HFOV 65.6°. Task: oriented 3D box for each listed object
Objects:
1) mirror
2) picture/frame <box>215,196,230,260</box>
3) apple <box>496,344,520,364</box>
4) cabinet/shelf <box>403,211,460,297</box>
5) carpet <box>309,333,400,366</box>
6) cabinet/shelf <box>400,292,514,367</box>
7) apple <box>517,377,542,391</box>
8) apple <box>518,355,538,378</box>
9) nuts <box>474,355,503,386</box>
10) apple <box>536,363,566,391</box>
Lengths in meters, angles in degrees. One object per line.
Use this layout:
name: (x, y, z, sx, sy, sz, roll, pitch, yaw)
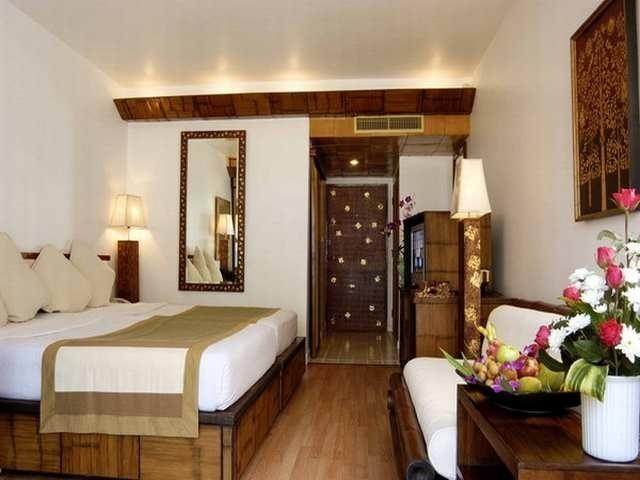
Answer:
mirror: (-1.234, -0.303, 5.628, 0.800, 1.902, 0.038, -1, 12, -23)
picture/frame: (-1.087, -0.008, 5.661, 0.195, 0.708, 0.205, -1, -2, -17)
apple: (0.871, 0.530, 2.315, 0.075, 0.085, 0.079, -15, 18, -28)
cabinet/shelf: (1.055, 0.183, 5.191, 0.265, 0.849, 0.816, -8, -2, -33)
carpet: (0.483, 1.393, 6.513, 1.024, 0.191, 1.992, -3, 0, 6)
cabinet/shelf: (1.243, 0.863, 4.680, 0.667, 0.728, 0.501, 9, -19, 6)
apple: (0.927, 0.645, 2.208, 0.078, 0.072, 0.064, 4, 10, 14)
apple: (0.945, 0.581, 2.256, 0.068, 0.095, 0.079, -14, 15, -1)
nuts: (0.785, 0.621, 2.340, 0.104, 0.105, 0.048, 12, -14, -7)
apple: (1.047, 0.633, 2.258, 0.087, 0.181, 0.092, -1, 11, 7)
